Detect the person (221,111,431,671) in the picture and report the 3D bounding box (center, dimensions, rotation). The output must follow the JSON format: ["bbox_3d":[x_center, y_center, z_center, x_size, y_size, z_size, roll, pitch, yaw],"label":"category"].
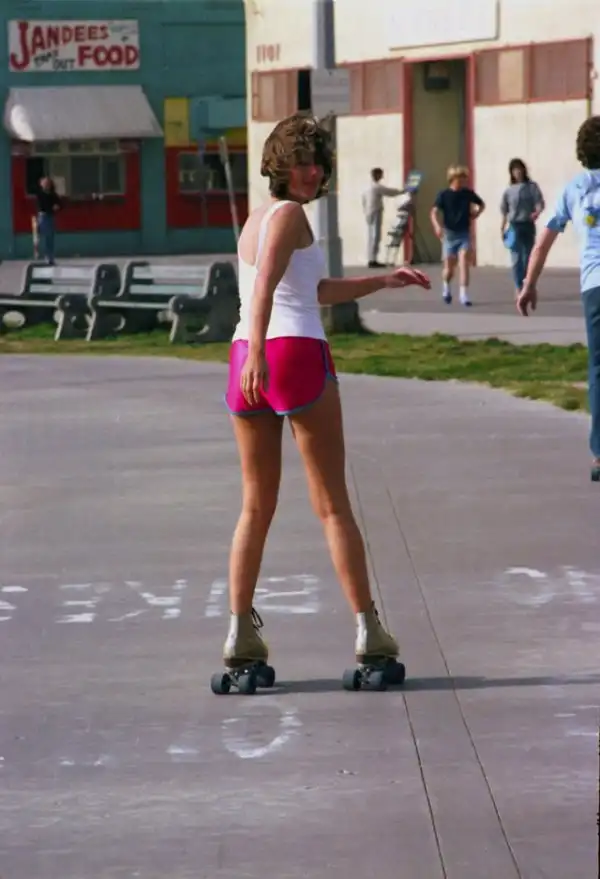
[{"bbox_3d":[0.026,-0.112,5.548,0.570,1.649,0.625,1,9,14],"label":"person"}]

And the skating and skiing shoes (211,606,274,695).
[{"bbox_3d":[-0.161,0.631,5.551,0.119,0.208,0.307,0,3,-9],"label":"skating and skiing shoes"}]

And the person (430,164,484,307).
[{"bbox_3d":[1.624,-2.042,19.542,0.491,1.488,1.340,0,9,6],"label":"person"}]

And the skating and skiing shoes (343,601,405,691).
[{"bbox_3d":[0.220,0.629,5.539,0.131,0.288,0.258,0,1,21],"label":"skating and skiing shoes"}]

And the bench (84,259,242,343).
[{"bbox_3d":[-1.301,-1.279,17.877,0.706,0.801,1.331,-5,7,-42],"label":"bench"}]

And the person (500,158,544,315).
[{"bbox_3d":[2.191,-2.066,18.765,0.409,1.376,0.361,-2,13,16],"label":"person"}]
